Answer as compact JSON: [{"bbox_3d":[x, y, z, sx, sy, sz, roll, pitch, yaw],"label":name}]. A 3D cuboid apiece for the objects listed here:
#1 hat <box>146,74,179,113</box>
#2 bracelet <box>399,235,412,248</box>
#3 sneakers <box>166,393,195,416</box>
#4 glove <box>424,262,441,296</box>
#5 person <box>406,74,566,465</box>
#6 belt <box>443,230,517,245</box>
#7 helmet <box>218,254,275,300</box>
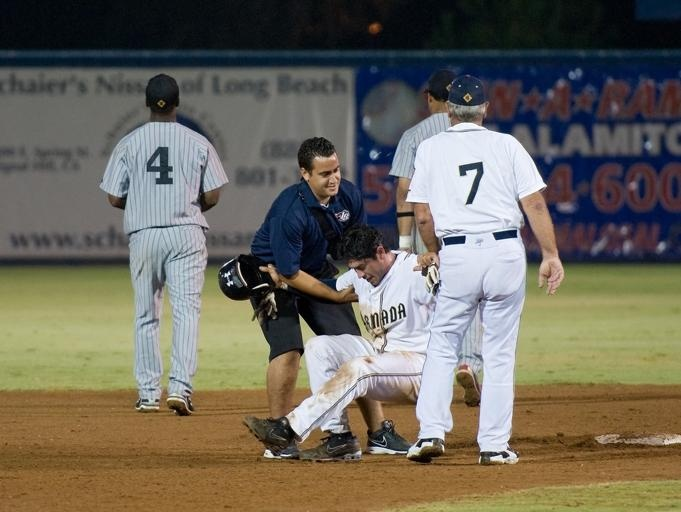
[{"bbox_3d":[-2.037,-1.948,18.715,0.401,0.320,0.532,5,40,0],"label":"hat"},{"bbox_3d":[0.756,-0.147,18.739,0.134,0.144,0.135,-1,7,-5],"label":"bracelet"},{"bbox_3d":[-1.828,1.686,18.547,0.322,0.283,0.265,-3,12,-13],"label":"sneakers"},{"bbox_3d":[0.967,0.259,17.091,0.190,0.267,0.072,16,15,40],"label":"glove"},{"bbox_3d":[1.435,0.176,17.032,1.461,3.956,1.044,0,12,2],"label":"person"},{"bbox_3d":[1.460,-0.178,16.962,0.778,0.175,0.086,0,12,2],"label":"belt"},{"bbox_3d":[-1.078,0.240,17.654,0.567,0.424,0.447,-16,-19,25],"label":"helmet"}]
